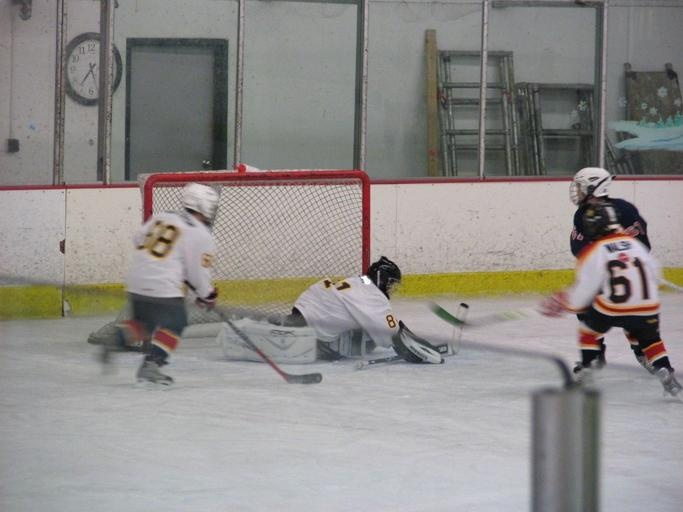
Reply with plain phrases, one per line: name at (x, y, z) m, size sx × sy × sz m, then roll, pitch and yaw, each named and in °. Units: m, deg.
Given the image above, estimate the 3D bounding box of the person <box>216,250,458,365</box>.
person at (0.044, 0.323, 7.233) m, size 1.202 × 0.502 × 0.660 m, roll 1°, pitch 15°, yaw -7°

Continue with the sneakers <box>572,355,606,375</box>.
sneakers at (1.481, 0.657, 6.785) m, size 0.086 × 0.160 × 0.257 m, roll -9°, pitch -19°, yaw 39°

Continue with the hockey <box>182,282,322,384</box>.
hockey at (-0.590, 0.526, 7.367) m, size 1.057 × 0.121 × 0.149 m, roll 34°, pitch 3°, yaw 38°

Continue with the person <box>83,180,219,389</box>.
person at (-1.069, 0.157, 6.802) m, size 0.662 × 1.074 × 0.327 m, roll 4°, pitch 1°, yaw -9°

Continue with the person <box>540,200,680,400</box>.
person at (1.582, 0.237, 6.559) m, size 0.822 × 1.145 × 0.326 m, roll 4°, pitch 1°, yaw 9°

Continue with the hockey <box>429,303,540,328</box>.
hockey at (0.892, 0.424, 7.575) m, size 0.407 × 0.086 × 0.381 m, roll 0°, pitch 0°, yaw -26°

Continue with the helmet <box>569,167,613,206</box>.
helmet at (1.542, -0.448, 7.145) m, size 0.281 × 0.237 × 0.210 m, roll 7°, pitch 7°, yaw 22°

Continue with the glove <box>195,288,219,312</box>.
glove at (-0.805, 0.273, 6.978) m, size 0.146 × 0.115 × 0.110 m, roll -15°, pitch 17°, yaw -41°

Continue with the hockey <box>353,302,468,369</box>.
hockey at (0.465, 0.548, 7.594) m, size 0.910 × 0.333 × 0.085 m, roll -15°, pitch -28°, yaw 39°
